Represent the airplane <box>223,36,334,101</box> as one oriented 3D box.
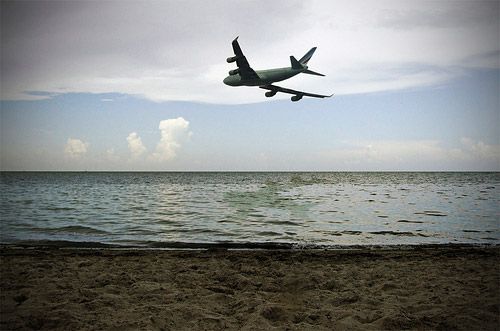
[{"bbox_3d":[1.482,-6.840,32.715,6.596,4.420,12.841,0,11,5],"label":"airplane"}]
